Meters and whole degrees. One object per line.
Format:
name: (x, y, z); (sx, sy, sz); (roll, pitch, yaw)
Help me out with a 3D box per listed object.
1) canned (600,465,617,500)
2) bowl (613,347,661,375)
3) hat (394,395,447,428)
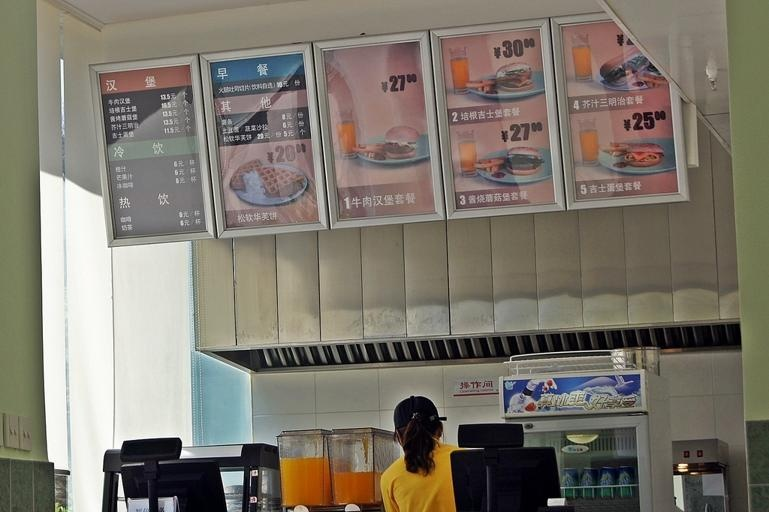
canned: (1.346, 1.370, 6.959); (0.114, 0.177, 0.063); (-6, -10, 14)
bowl: (1.585, 0.638, 7.253); (0.275, 0.249, 0.188); (0, 5, 1)
hat: (0.184, 0.796, 5.920); (0.246, 0.118, 0.150); (2, 11, -4)
